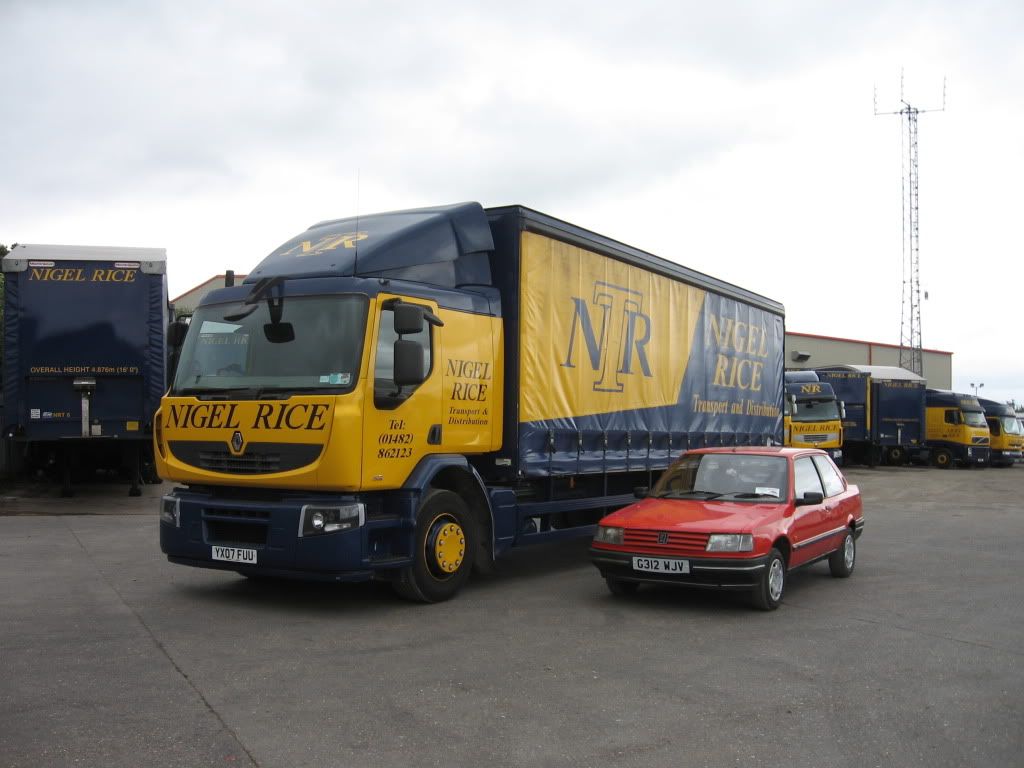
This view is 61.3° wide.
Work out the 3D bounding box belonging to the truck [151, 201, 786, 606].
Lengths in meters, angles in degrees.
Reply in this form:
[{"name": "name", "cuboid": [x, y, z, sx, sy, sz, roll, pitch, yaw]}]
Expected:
[{"name": "truck", "cuboid": [0.699, 0.497, 13.895, 3.129, 5.033, 11.397, -4, -7, 40]}]
